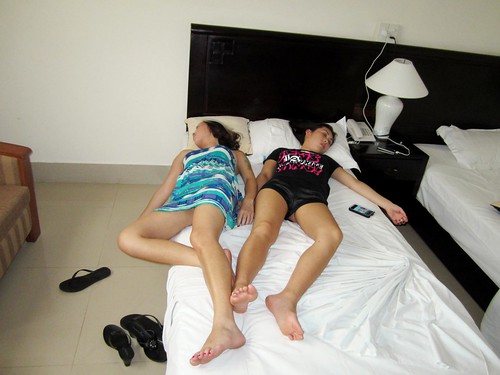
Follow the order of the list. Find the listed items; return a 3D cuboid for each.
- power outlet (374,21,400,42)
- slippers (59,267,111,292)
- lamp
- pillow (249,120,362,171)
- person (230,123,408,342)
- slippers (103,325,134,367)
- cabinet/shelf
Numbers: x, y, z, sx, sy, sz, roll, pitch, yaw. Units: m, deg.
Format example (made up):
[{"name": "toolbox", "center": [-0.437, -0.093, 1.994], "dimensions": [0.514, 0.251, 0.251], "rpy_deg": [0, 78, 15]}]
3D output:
[{"name": "power outlet", "center": [1.164, -1.321, 3.102], "dimensions": [0.186, 0.139, 0.067], "rpy_deg": [-1, 34, -15]}, {"name": "slippers", "center": [-1.102, 0.622, 2.430], "dimensions": [0.288, 0.071, 0.125], "rpy_deg": [-18, 38, -33]}, {"name": "lamp", "center": [1.160, -0.695, 3.007], "dimensions": [0.385, 0.644, 0.358], "rpy_deg": [-8, 36, -23]}, {"name": "pillow", "center": [0.386, -0.347, 3.108], "dimensions": [0.665, 0.208, 0.495], "rpy_deg": [0, 69, -4]}, {"name": "person", "center": [0.247, 0.157, 2.161], "dimensions": [0.761, 0.346, 1.279], "rpy_deg": [5, 49, 13]}, {"name": "slippers", "center": [-0.759, 0.900, 2.101], "dimensions": [0.114, 0.065, 0.238], "rpy_deg": [-21, 57, -27]}, {"name": "cabinet/shelf", "center": [1.111, -0.112, 3.232], "dimensions": [0.571, 0.903, 0.616], "rpy_deg": [-3, 51, 3]}]
